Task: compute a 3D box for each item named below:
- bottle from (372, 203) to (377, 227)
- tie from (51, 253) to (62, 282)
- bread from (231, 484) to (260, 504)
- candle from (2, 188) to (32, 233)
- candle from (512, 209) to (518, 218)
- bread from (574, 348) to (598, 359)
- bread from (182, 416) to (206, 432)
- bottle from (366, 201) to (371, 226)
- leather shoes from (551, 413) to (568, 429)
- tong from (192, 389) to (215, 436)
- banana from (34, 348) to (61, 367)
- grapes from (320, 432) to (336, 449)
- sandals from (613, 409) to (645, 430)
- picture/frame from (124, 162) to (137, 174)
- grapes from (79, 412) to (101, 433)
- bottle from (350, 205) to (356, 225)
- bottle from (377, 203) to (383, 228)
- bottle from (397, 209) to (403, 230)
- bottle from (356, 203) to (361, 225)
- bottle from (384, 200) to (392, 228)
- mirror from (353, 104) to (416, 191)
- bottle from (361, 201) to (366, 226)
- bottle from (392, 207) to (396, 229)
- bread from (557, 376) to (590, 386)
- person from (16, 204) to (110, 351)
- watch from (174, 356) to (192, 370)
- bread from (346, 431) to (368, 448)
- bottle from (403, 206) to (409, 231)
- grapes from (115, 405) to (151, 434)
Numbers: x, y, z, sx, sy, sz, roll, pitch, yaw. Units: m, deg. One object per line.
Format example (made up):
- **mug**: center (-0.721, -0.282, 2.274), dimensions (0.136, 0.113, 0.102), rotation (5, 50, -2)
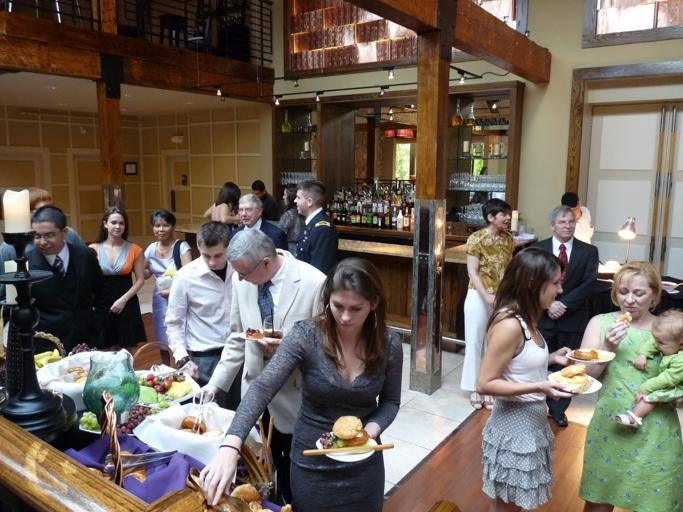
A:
- **bottle**: center (0.533, -0.658, 7.977), dimensions (0.098, 0.338, 0.036), rotation (4, 11, 22)
- **tie**: center (-2.052, 0.084, 3.661), dimensions (0.042, 0.090, 0.135), rotation (-3, 43, -5)
- **bread**: center (-0.333, 0.820, 1.770), dimensions (0.073, 0.045, 0.063), rotation (-4, -16, 33)
- **candle**: center (-1.323, -0.183, 2.054), dimensions (0.097, 0.172, 0.261), rotation (-7, 13, -32)
- **candle**: center (2.457, -0.587, 7.084), dimensions (0.108, 0.132, 0.111), rotation (4, 2, 32)
- **bread**: center (1.301, 0.519, 2.689), dimensions (0.065, 0.030, 0.068), rotation (2, 5, 27)
- **bread**: center (-0.671, 0.761, 2.289), dimensions (0.072, 0.023, 0.075), rotation (31, 7, 3)
- **bottle**: center (0.446, -0.671, 8.018), dimensions (0.086, 0.318, 0.040), rotation (8, 13, 39)
- **leather shoes**: center (1.884, 1.417, 4.342), dimensions (0.062, 0.103, 0.142), rotation (-12, 9, -34)
- **tong**: center (-0.654, 0.724, 2.360), dimensions (0.101, 0.208, 0.042), rotation (4, -15, -26)
- **banana**: center (-1.628, 0.568, 2.806), dimensions (0.122, 0.039, 0.278), rotation (-7, 13, -32)
- **grapes**: center (-0.051, 0.744, 2.050), dimensions (0.047, 0.031, 0.060), rotation (7, -5, -21)
- **sandals**: center (1.490, 0.849, 2.626), dimensions (0.157, 0.068, 0.080), rotation (9, -4, -19)
- **picture/frame**: center (-5.009, -2.076, 12.022), dimensions (0.092, 0.330, 0.363), rotation (4, 12, 23)
- **grapes**: center (-1.137, 0.748, 2.267), dimensions (0.107, 0.080, 0.058), rotation (7, 13, 32)
- **bottle**: center (0.214, -0.658, 8.183), dimensions (0.092, 0.264, 0.092), rotation (0, 10, 0)
- **bottle**: center (0.619, -0.631, 7.899), dimensions (0.089, 0.371, 0.067), rotation (1, 10, 7)
- **bottle**: center (0.911, -0.560, 7.788), dimensions (0.102, 0.285, 0.205), rotation (1, 11, 7)
- **bottle**: center (0.287, -0.691, 8.123), dimensions (0.088, 0.341, 0.042), rotation (6, 12, 30)
- **bottle**: center (0.724, -0.658, 7.893), dimensions (0.107, 0.418, 0.197), rotation (0, 10, -2)
- **mirror**: center (1.000, -2.438, 11.297), dimensions (1.308, 1.519, 3.612), rotation (1, 11, 7)
- **bottle**: center (0.362, -0.689, 8.092), dimensions (0.086, 0.338, 0.056), rotation (2, 11, 13)
- **bottle**: center (0.839, -0.586, 7.823), dimensions (0.065, 0.304, 0.175), rotation (-4, 11, -19)
- **bread**: center (1.157, 0.620, 2.524), dimensions (0.082, 0.026, 0.082), rotation (-1, 2, -42)
- **person**: center (-2.022, 0.172, 3.732), dimensions (0.308, 1.078, 0.557), rotation (8, 13, 39)
- **watch**: center (-1.002, 0.688, 3.174), dimensions (0.097, 0.038, 0.075), rotation (-34, -4, 18)
- **bread**: center (0.071, 0.733, 2.034), dimensions (0.058, 0.020, 0.059), rotation (-14, -5, 37)
- **bottle**: center (1.011, -0.568, 7.759), dimensions (0.085, 0.316, 0.138), rotation (1, 11, 9)
- **grapes**: center (-0.972, 0.756, 2.354), dimensions (0.105, 0.057, 0.201), rotation (3, 11, 13)
